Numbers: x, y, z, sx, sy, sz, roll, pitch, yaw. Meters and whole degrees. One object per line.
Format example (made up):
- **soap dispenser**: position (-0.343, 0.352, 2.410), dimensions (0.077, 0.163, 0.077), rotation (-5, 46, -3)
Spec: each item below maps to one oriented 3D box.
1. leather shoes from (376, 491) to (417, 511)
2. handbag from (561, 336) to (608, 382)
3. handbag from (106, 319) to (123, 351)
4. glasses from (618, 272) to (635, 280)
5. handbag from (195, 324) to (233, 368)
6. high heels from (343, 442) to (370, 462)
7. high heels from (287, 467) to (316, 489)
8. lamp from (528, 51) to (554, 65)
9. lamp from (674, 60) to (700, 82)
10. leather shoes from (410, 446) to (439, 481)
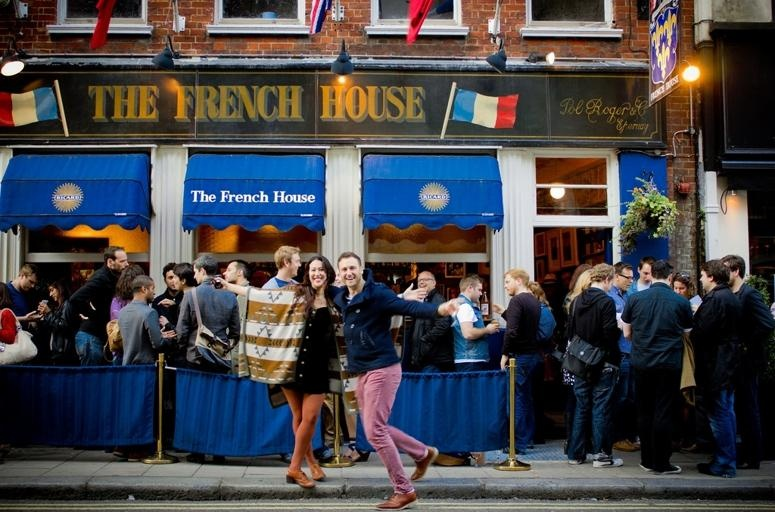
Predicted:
- **leather shoes**: position (0.131, 3.478, 17.187), dimensions (0.615, 0.290, 0.223), rotation (0, -7, -8)
- **handbag**: position (3.066, 1.592, 18.689), dimensions (0.382, 0.592, 0.615), rotation (11, 6, -43)
- **handbag**: position (-4.260, 1.243, 18.862), dimensions (0.164, 0.408, 0.400), rotation (-1, 1, -32)
- **glasses**: position (3.975, 0.348, 20.174), dimensions (0.179, 0.053, 0.175), rotation (8, -6, -36)
- **handbag**: position (-2.701, 1.405, 18.640), dimensions (0.503, 0.455, 0.180), rotation (32, -36, -24)
- **high heels**: position (-0.392, 3.073, 18.837), dimensions (0.551, 0.200, 0.183), rotation (8, -8, -23)
- **high heels**: position (-1.261, 3.233, 17.626), dimensions (0.512, 0.214, 0.191), rotation (9, 2, 27)
- **lamp**: position (2.752, -3.524, 21.604), dimensions (0.392, 0.200, 0.239), rotation (4, -2, 21)
- **lamp**: position (5.336, -3.246, 21.133), dimensions (0.095, 0.398, 0.399), rotation (3, 0, -39)
- **leather shoes**: position (0.566, 3.061, 17.826), dimensions (0.278, 0.688, 0.241), rotation (19, 36, -7)
